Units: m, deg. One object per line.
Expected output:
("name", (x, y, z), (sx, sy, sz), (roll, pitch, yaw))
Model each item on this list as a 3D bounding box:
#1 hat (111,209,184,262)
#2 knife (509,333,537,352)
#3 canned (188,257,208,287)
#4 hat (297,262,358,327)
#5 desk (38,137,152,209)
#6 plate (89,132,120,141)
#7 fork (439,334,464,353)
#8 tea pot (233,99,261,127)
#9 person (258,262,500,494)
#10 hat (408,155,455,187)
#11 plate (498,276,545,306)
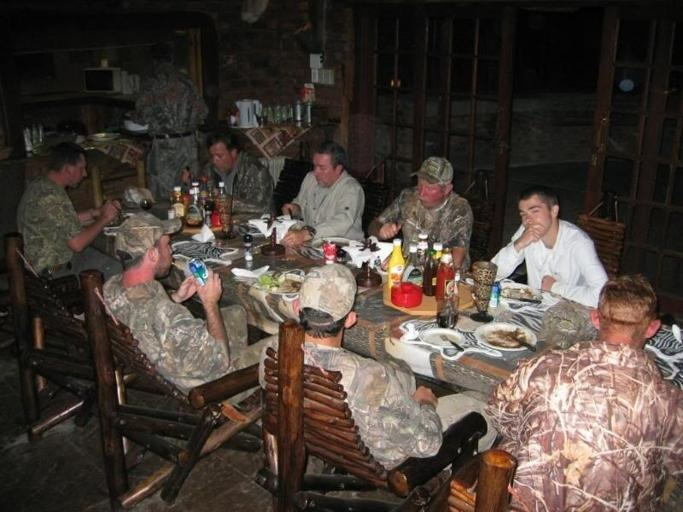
("hat", (-1.329, -0.132, 3.312), (0.437, 0.221, 0.292), (-34, 35, -27))
("knife", (0.985, 0.461, 2.626), (0.041, 0.027, 0.211), (-11, 16, -9))
("canned", (-0.907, 0.100, 3.114), (0.109, 0.178, 0.066), (-38, 5, 3))
("hat", (-0.062, 0.189, 2.236), (0.242, 0.214, 0.368), (26, 12, 6))
("desk", (-3.056, -1.041, 5.952), (1.211, 0.949, 0.677), (-11, 14, -33))
("plate", (-3.557, -1.768, 7.208), (0.275, 0.076, 0.331), (15, 15, 32))
("fork", (0.600, 0.470, 2.627), (0.040, 0.029, 0.169), (-12, 14, -13))
("tea pot", (-1.439, -2.168, 7.399), (0.469, 0.399, 0.348), (3, 14, 9))
("person", (0.219, 0.563, 2.373), (1.141, 1.079, 0.678), (-9, 17, -35))
("hat", (0.805, -0.717, 4.174), (0.343, 0.196, 0.225), (10, 20, -41))
("plate", (1.186, 0.240, 3.207), (0.155, 0.031, 0.180), (-8, 26, -20))
